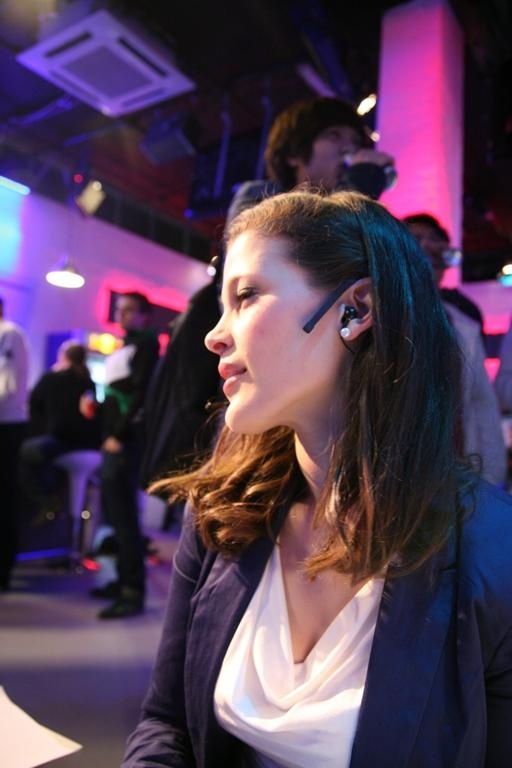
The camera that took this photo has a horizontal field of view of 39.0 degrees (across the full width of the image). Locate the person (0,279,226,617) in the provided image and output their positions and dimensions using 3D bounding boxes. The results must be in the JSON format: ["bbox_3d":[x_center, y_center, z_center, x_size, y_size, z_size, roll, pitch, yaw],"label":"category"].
[{"bbox_3d":[-0.619,0.243,2.789,0.563,0.503,1.654,5,38,1],"label":"person"}]

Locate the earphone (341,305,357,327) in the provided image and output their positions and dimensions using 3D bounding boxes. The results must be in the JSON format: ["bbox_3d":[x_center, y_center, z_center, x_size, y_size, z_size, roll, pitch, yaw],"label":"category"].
[{"bbox_3d":[0.144,-0.102,1.109,0.026,0.027,0.016,12,-4,-6],"label":"earphone"}]

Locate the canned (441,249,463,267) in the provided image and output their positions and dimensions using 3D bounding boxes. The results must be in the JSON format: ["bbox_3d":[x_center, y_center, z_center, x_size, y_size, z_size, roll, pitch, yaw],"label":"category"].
[{"bbox_3d":[0.536,-0.342,1.974,0.050,0.045,0.048,5,4,20],"label":"canned"}]
